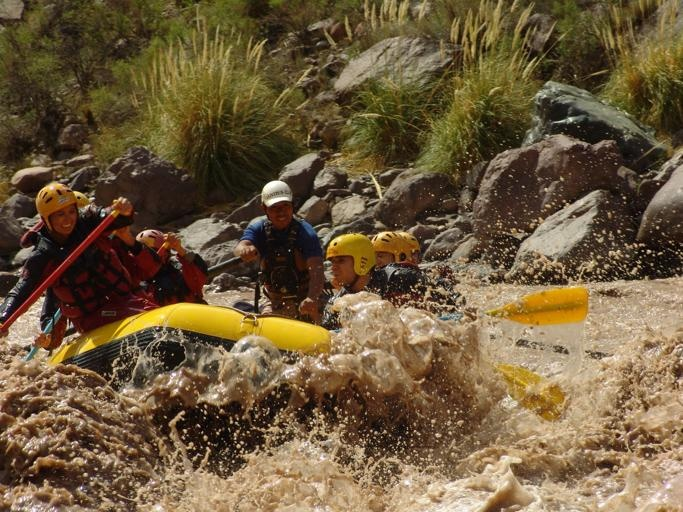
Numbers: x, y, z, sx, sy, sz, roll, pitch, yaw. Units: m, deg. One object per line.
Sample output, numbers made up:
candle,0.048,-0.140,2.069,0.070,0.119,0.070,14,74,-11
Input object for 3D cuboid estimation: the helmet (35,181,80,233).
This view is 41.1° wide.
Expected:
helmet,-2.662,-0.463,8.600,0.371,0.429,0.493,-25,23,-34

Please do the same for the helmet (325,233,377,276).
helmet,0.166,-0.012,9.075,0.499,0.388,0.345,4,-5,-5

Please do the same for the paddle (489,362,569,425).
paddle,1.714,1.216,8.213,0.608,0.165,0.323,39,70,20

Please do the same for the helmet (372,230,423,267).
helmet,0.613,-0.083,9.539,0.493,0.371,0.340,-13,15,-14
